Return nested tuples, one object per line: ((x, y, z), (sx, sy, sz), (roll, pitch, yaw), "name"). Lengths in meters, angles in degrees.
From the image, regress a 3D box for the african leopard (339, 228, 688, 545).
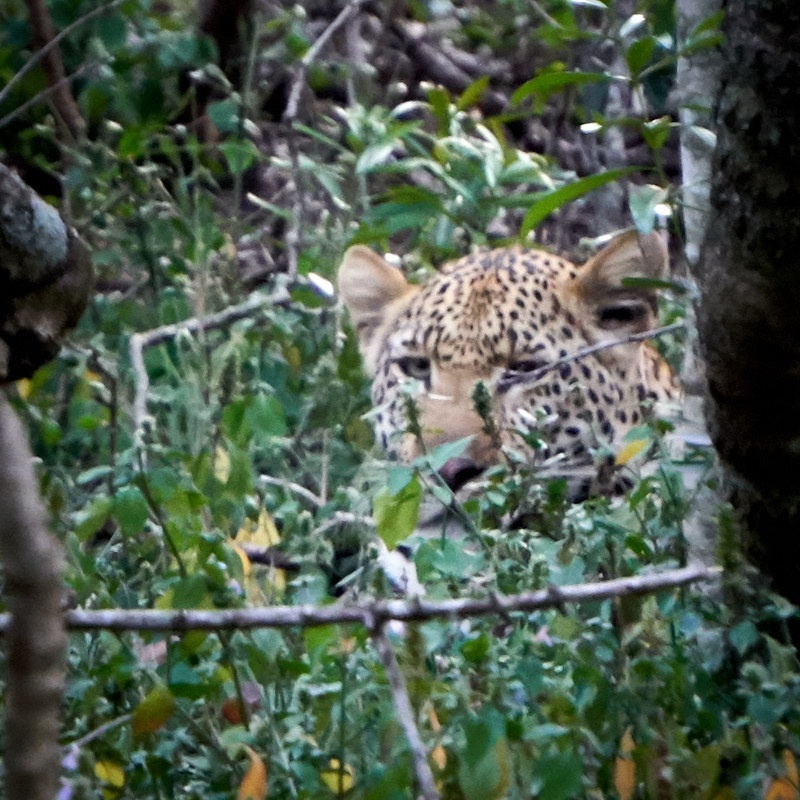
((0.313, -0.016, 3.167), (0.776, 0.678, 1.042), (-2, 0, 22), "african leopard")
